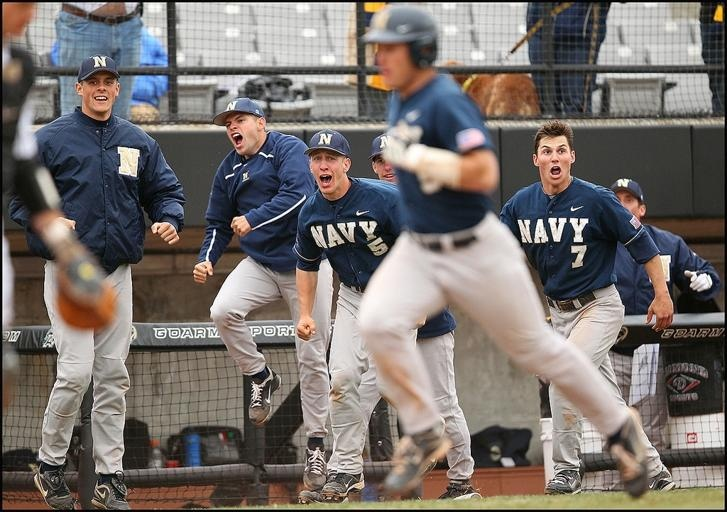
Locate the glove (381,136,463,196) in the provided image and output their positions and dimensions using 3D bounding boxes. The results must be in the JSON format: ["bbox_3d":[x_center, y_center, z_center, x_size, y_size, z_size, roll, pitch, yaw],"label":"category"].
[{"bbox_3d":[0.454,-0.706,12.434,0.502,0.242,0.382,26,6,12],"label":"glove"}]

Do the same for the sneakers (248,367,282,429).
[{"bbox_3d":[-0.904,1.287,14.694,0.209,0.638,0.272,-11,-44,31],"label":"sneakers"}]

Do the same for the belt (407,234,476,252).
[{"bbox_3d":[0.643,-0.083,12.556,0.506,0.146,0.087,-2,4,3],"label":"belt"}]

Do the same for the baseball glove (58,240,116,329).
[{"bbox_3d":[-2.249,0.234,12.246,0.390,0.682,0.348,-30,11,-14],"label":"baseball glove"}]

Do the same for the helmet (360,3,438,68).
[{"bbox_3d":[0.322,-1.734,12.598,0.550,0.427,0.445,-19,11,-15],"label":"helmet"}]

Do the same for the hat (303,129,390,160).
[{"bbox_3d":[-0.204,-0.997,14.389,0.335,0.250,0.620,4,9,39],"label":"hat"}]

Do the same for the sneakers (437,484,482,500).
[{"bbox_3d":[0.863,2.151,14.251,0.394,0.177,0.151,1,-7,-2],"label":"sneakers"}]

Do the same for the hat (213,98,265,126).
[{"bbox_3d":[-1.171,-1.343,14.753,0.384,0.186,0.276,-7,-1,-22],"label":"hat"}]

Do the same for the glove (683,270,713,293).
[{"bbox_3d":[3.330,0.278,15.672,0.230,0.118,0.174,17,-5,5],"label":"glove"}]

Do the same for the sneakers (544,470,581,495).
[{"bbox_3d":[1.811,2.083,14.374,0.151,0.169,0.361,-12,-15,36],"label":"sneakers"}]

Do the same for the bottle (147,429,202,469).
[{"bbox_3d":[-1.917,1.993,15.871,0.362,0.377,0.374,-1,4,-14],"label":"bottle"}]
